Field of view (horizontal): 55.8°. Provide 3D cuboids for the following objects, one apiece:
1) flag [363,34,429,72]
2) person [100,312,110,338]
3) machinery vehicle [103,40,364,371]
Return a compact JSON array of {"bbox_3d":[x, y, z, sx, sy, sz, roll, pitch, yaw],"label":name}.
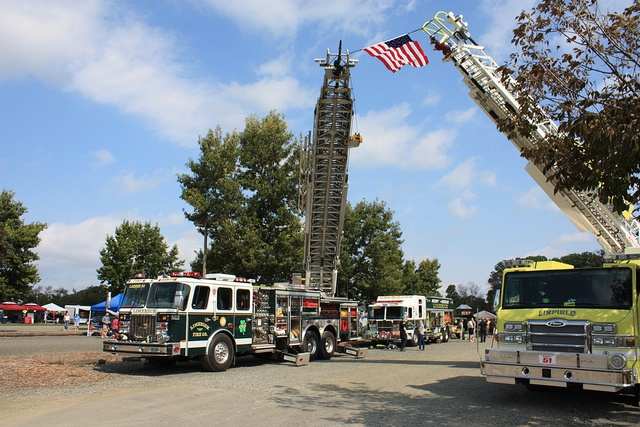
[{"bbox_3d":[3.114,-6.396,24.017,2.184,1.435,0.258,1,-2,-9],"label":"flag"},{"bbox_3d":[-7.951,4.145,22.421,0.222,0.936,0.817,1,-3,-22],"label":"person"},{"bbox_3d":[-2.206,0.161,24.242,4.419,12.052,11.021,-2,-4,43],"label":"machinery vehicle"}]
